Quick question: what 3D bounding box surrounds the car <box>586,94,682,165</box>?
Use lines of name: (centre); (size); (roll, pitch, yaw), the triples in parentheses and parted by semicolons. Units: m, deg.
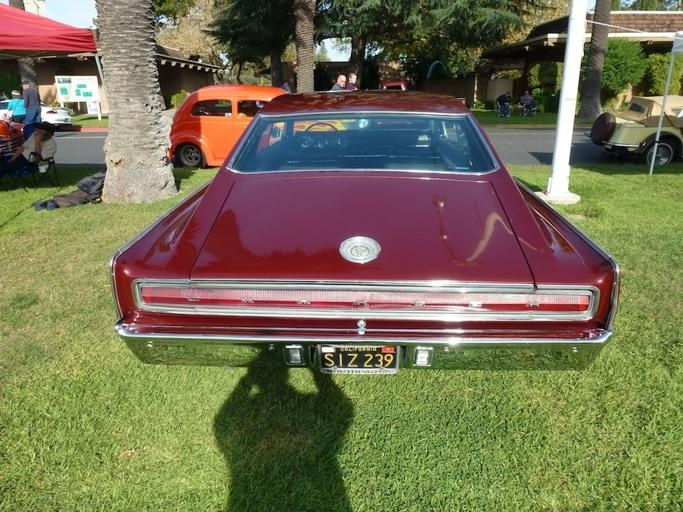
car: (7.105, -2.954, 10.197); (2.549, 0.988, 1.294); (-9, 36, 7)

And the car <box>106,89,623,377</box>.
car: (0.134, -0.405, 3.154); (2.827, 1.567, 2.352); (1, 21, 3)
